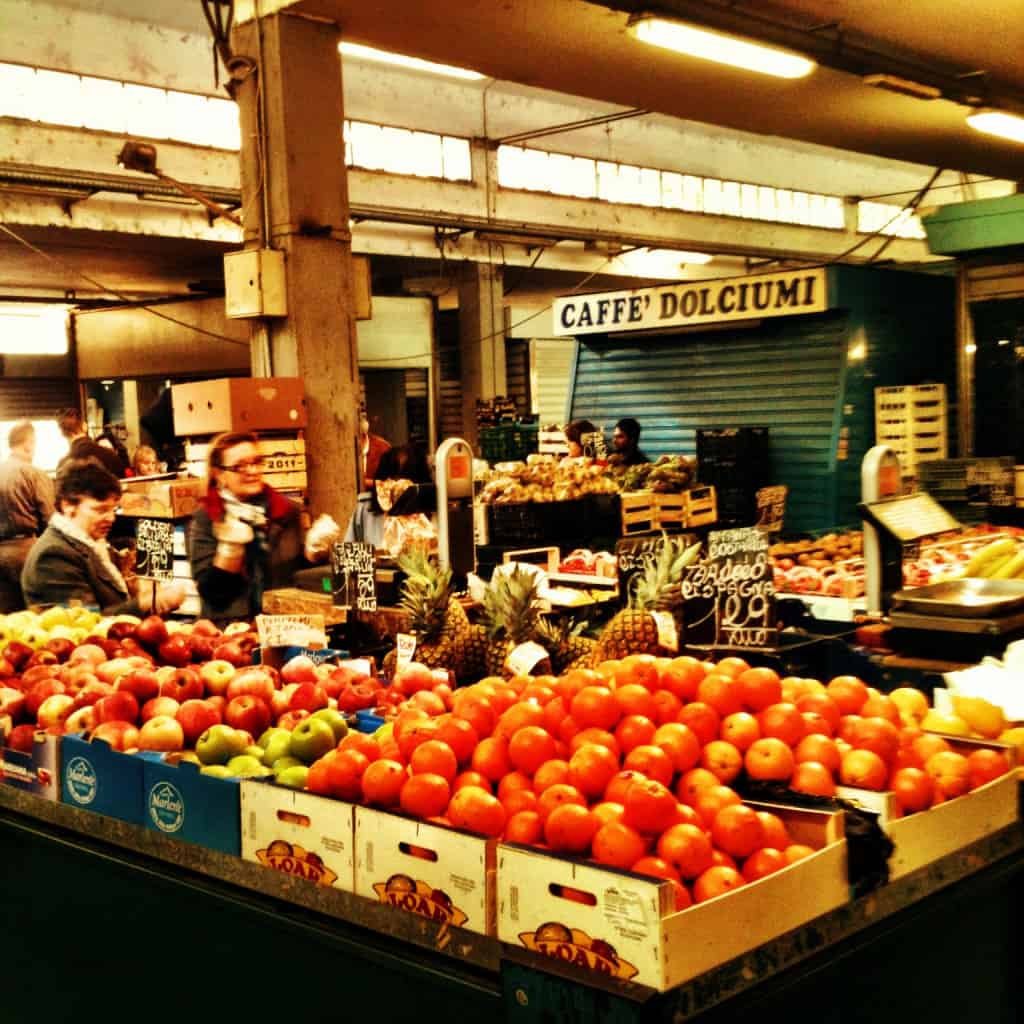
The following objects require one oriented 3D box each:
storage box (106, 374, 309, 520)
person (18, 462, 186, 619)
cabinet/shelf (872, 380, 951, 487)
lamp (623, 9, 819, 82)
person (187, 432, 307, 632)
[{"bbox_3d":[-1.948,-0.479,6.130,1.656,1.011,0.949,0,1,39],"label":"storage box"},{"bbox_3d":[-1.934,0.110,4.339,0.516,0.685,0.515,3,9,37],"label":"person"},{"bbox_3d":[4.151,-0.865,10.028,0.935,0.990,0.396,-8,9,-39],"label":"cabinet/shelf"},{"bbox_3d":[1.231,-2.691,5.525,1.382,0.064,0.279,-6,8,-35],"label":"lamp"},{"bbox_3d":[-1.293,0.072,4.681,0.551,0.920,0.322,-4,7,-16],"label":"person"}]
